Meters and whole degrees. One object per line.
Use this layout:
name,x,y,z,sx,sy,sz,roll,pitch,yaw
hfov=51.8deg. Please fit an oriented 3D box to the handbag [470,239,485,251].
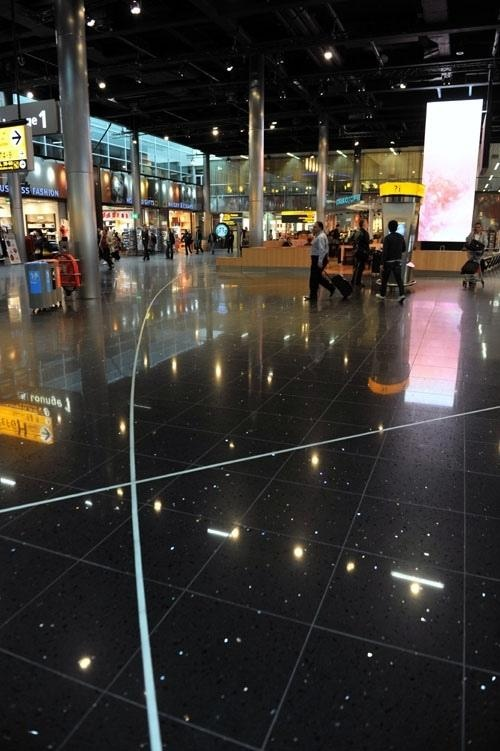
handbag,5.666,-3.303,13.017,0.473,0.310,0.268,-12,18,-41

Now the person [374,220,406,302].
person,2.847,-2.293,10.316,0.482,1.569,0.903,3,13,15

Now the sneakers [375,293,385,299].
sneakers,2.769,-1.690,10.980,0.096,0.129,0.286,3,20,1

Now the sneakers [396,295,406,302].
sneakers,3.008,-1.534,10.296,0.122,0.152,0.331,-5,2,12
